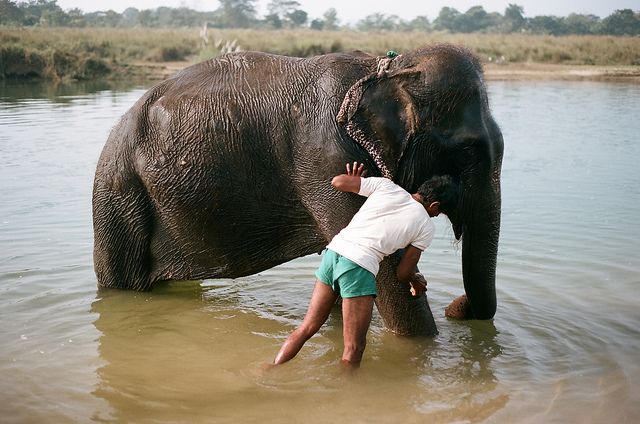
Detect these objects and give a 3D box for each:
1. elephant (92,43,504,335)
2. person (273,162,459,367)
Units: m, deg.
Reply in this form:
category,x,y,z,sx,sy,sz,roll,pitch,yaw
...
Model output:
category,x,y,z,sx,sy,sz,roll,pitch,yaw
elephant,-0.374,-0.220,7.827,4.977,2.914,1.772,3,14,15
person,0.494,0.601,6.677,1.629,1.912,0.487,1,13,10
